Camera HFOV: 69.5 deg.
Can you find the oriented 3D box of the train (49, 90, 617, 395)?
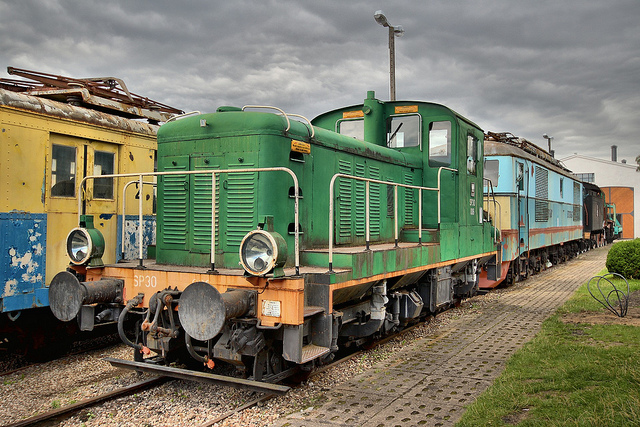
[{"bbox_3d":[2.981,0.095,13.372,4.579,4.703,17.741,0,0,31],"label":"train"}]
